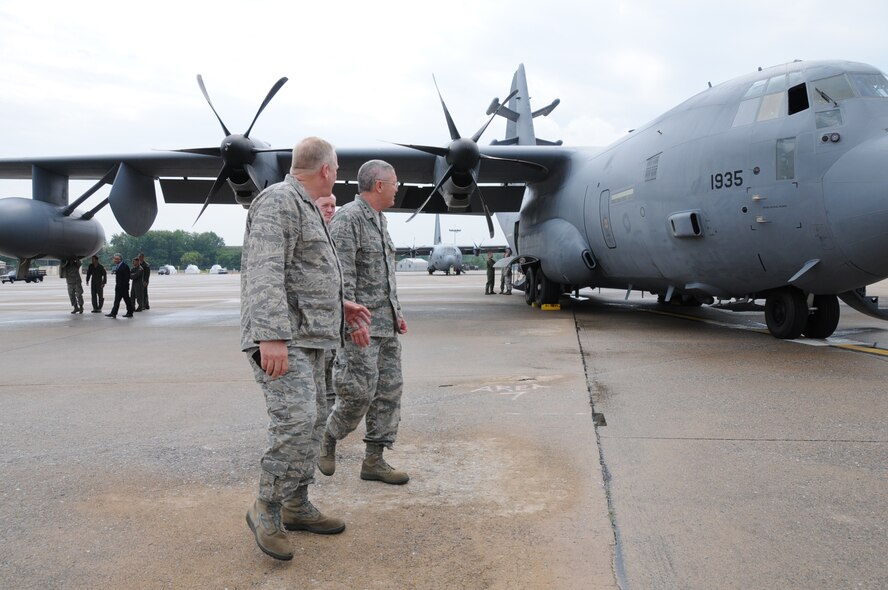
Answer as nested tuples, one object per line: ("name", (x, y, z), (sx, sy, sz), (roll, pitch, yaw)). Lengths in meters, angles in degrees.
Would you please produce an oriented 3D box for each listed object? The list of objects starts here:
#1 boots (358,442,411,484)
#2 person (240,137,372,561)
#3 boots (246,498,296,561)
("boots", (-0.360, 1.317, 4.647), (0.555, 0.330, 0.184), (1, -1, 8))
("person", (-0.943, 0.269, 3.857), (0.745, 2.595, 1.037), (-1, 12, -1))
("boots", (-1.098, 1.449, 3.710), (0.258, 0.338, 0.333), (-5, 12, -21))
